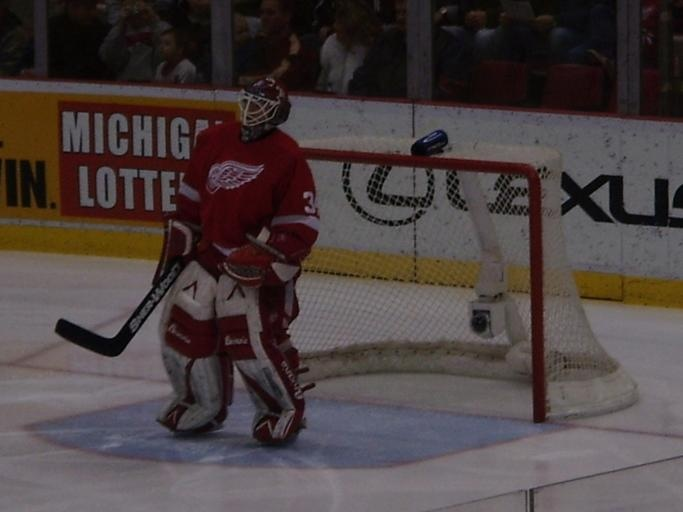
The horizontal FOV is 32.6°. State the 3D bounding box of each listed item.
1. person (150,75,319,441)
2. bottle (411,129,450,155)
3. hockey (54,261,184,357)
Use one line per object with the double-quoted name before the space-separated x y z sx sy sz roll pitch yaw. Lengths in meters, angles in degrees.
"person" -0.446 0.025 5.046 0.677 1.560 0.439 1 13 -2
"bottle" 0.418 -0.549 5.680 0.262 0.114 0.126 -7 15 -35
"hockey" -0.934 0.238 5.106 0.315 0.590 0.120 29 -22 13
